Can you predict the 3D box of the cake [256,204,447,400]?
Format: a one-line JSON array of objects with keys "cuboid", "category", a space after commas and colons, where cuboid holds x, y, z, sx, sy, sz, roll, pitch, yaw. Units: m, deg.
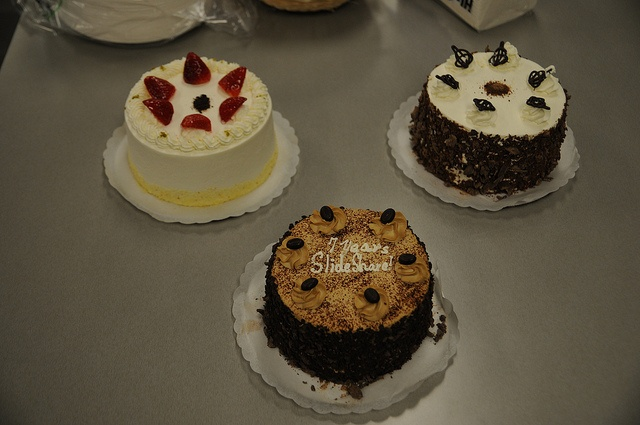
[{"cuboid": [0.189, 0.500, 3.438, 1.048, 0.463, 1.116, 11, 75, 6], "category": "cake"}]
